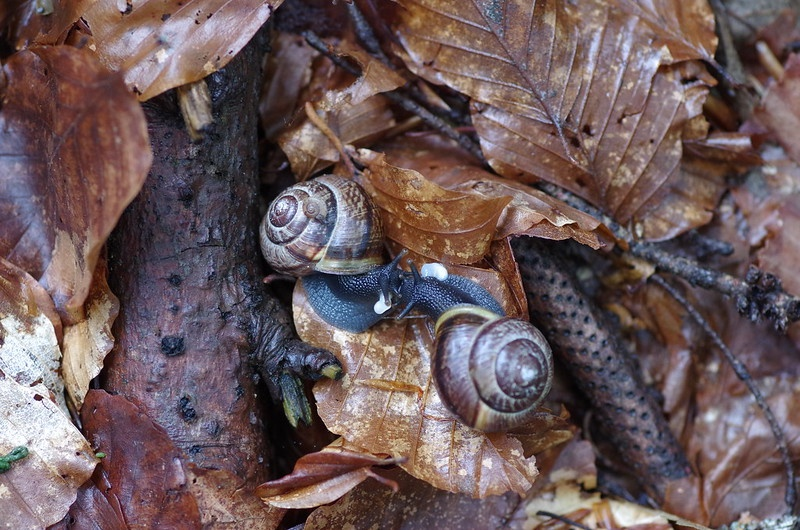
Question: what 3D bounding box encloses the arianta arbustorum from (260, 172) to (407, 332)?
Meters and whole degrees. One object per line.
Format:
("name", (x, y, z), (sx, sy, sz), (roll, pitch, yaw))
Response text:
("arianta arbustorum", (-0.189, -0.075, 2.715), (0.363, 0.240, 0.576), (-36, 52, -27))
